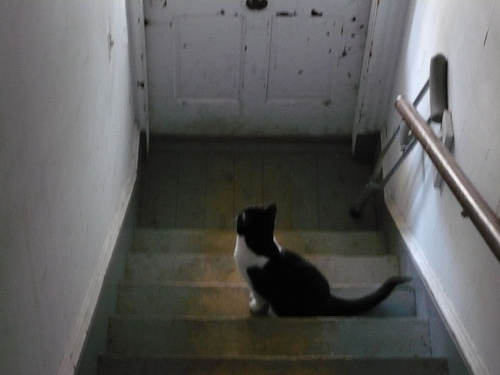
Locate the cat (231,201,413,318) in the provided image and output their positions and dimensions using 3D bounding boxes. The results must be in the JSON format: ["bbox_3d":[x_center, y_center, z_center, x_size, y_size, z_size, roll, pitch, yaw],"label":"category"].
[{"bbox_3d":[0.239,0.403,1.948,0.840,0.505,0.263,22,32,23],"label":"cat"}]
